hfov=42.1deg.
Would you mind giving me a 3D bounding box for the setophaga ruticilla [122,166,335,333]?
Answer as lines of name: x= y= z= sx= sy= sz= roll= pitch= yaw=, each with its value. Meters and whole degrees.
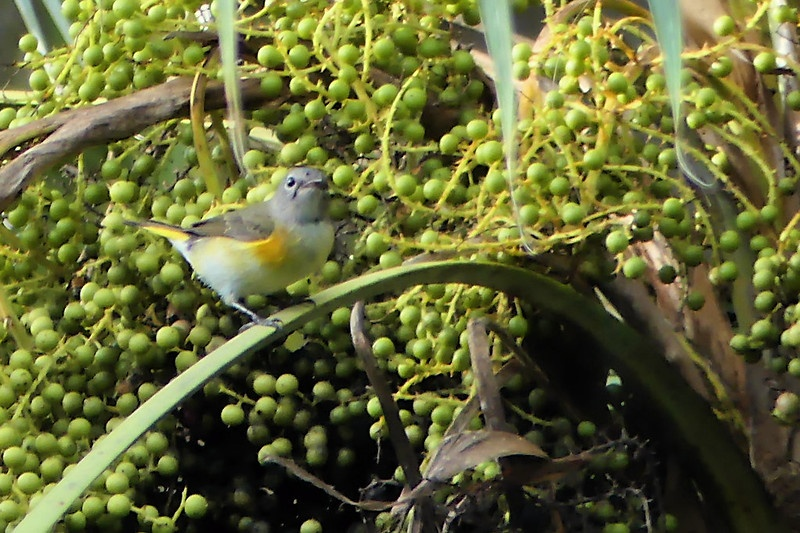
setophaga ruticilla: x=-0.169 y=-0.024 z=1.051 sx=0.228 sy=0.150 sz=0.101 roll=6 pitch=2 yaw=19
